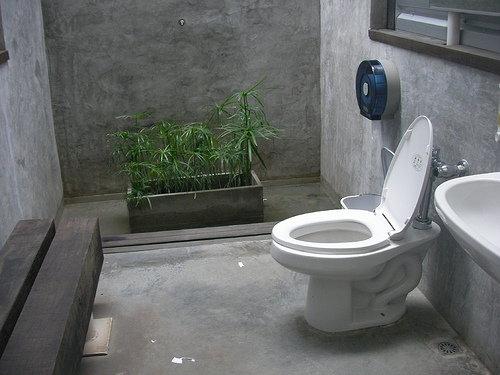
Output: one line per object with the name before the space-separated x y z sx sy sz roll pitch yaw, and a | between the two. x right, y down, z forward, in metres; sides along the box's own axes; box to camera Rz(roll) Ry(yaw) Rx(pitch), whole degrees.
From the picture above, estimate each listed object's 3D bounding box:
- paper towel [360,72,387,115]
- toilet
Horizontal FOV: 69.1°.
paper towel | 0.694 -0.533 2.028 0.068 0.198 0.187 -5 30 -7
toilet | 0.584 0.082 2.140 1.042 1.278 0.679 -3 24 -2
